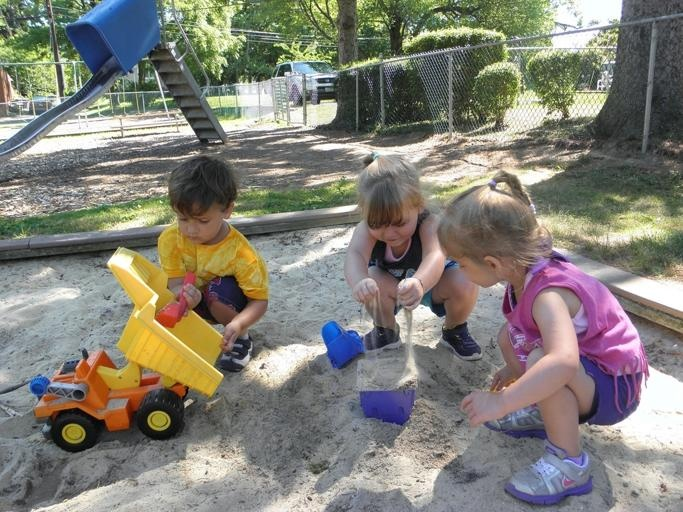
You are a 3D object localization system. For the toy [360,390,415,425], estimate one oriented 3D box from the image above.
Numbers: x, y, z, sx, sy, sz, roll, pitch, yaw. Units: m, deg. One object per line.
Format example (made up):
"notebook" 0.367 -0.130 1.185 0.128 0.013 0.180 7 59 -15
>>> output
"toy" 0.248 0.817 3.517 0.233 0.205 0.210 -3 14 4

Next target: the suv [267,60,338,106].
"suv" -1.533 -6.818 23.944 1.731 1.666 3.300 -7 19 -23

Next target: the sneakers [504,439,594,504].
"sneakers" 1.030 1.064 3.172 0.424 0.293 0.222 -6 9 -5

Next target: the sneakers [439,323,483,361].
"sneakers" 0.763 0.541 4.048 0.136 0.154 0.313 -33 40 -19

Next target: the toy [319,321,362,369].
"toy" -0.036 0.575 3.991 0.107 0.272 0.242 -19 25 -32

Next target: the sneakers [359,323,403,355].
"sneakers" 0.247 0.515 3.840 0.266 0.132 0.113 -5 9 -14
